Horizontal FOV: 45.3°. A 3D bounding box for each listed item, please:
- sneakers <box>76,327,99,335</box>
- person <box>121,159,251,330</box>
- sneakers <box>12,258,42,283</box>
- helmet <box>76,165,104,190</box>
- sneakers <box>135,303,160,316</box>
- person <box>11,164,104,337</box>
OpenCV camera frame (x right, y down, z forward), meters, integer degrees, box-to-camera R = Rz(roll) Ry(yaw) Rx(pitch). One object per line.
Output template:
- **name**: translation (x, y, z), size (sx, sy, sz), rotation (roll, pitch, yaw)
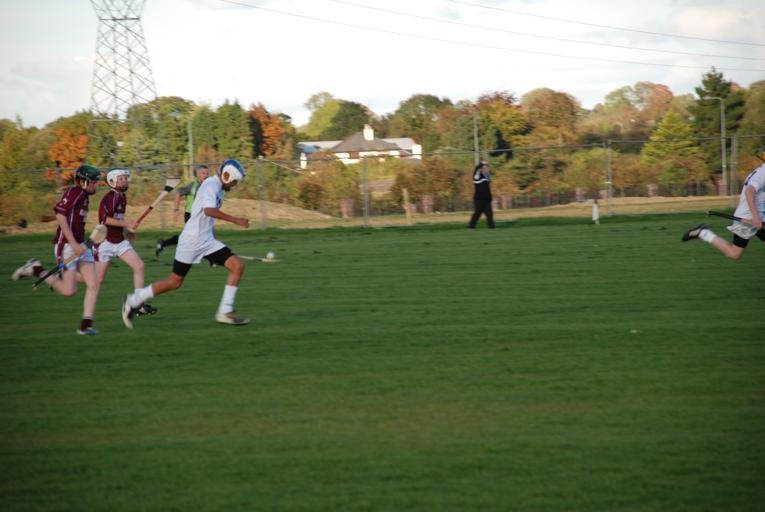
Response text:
- **sneakers**: translation (-4.473, 1.158, 13.925), size (0.303, 0.089, 0.116), rotation (-1, 4, 7)
- **person**: translation (-2.905, -0.045, 13.883), size (1.694, 2.303, 0.416), rotation (0, 12, -6)
- **sneakers**: translation (-6.421, 0.282, 16.578), size (0.693, 0.234, 0.300), rotation (-31, 9, -22)
- **helmet**: translation (-4.553, -1.177, 14.169), size (0.357, 0.411, 0.361), rotation (-2, 10, -16)
- **sneakers**: translation (-3.748, 0.878, 14.808), size (0.484, 0.134, 0.187), rotation (-3, 2, 13)
- **person**: translation (-4.939, -0.122, 14.223), size (1.207, 2.528, 1.551), rotation (-3, 12, -22)
